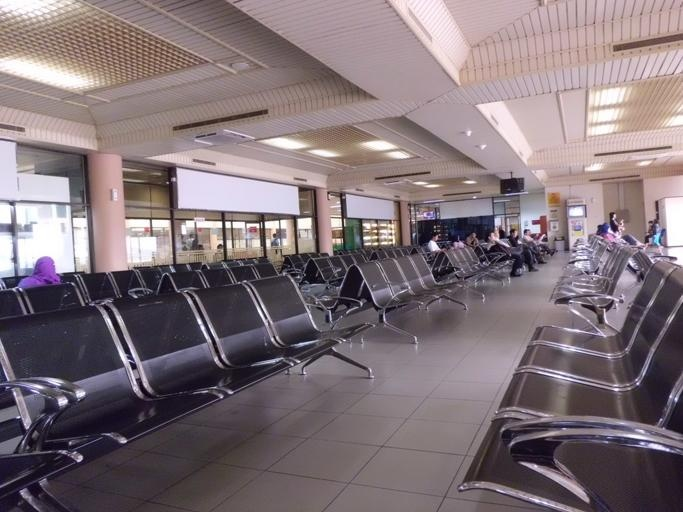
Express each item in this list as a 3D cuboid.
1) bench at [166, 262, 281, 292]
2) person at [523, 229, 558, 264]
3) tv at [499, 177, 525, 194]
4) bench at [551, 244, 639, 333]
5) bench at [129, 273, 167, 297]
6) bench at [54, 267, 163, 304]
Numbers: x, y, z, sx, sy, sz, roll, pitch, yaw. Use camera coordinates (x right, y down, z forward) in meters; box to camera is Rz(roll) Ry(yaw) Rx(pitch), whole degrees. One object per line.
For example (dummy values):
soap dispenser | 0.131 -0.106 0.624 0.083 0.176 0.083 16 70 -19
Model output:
bench | -1.542 0.266 5.739 0.313 0.271 1.408 -7 -4 14
person | 6.977 -0.438 16.025 1.135 1.205 0.482 -11 14 6
tv | 5.975 -2.456 15.726 0.602 0.583 1.167 -1 4 35
bench | 3.036 0.382 5.365 0.527 0.531 1.187 0 2 15
bench | -2.558 0.397 5.881 0.383 0.304 0.272 -4 11 -38
bench | -3.095 0.373 6.159 0.352 0.465 1.545 -15 -4 9
